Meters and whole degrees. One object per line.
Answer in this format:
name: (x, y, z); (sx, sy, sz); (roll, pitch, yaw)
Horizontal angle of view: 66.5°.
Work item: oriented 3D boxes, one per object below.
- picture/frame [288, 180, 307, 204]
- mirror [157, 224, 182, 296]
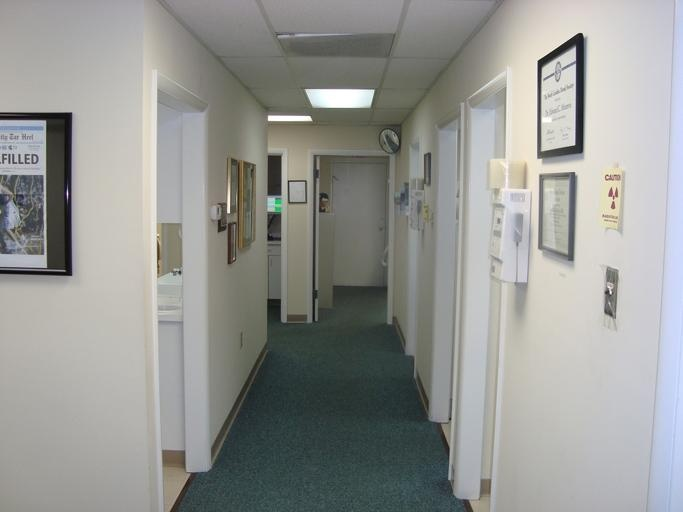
picture/frame: (-0.586, -0.870, 6.962); (0.260, 0.359, 0.022); (0, 4, -6)
mirror: (-1.620, 0.027, 4.886); (0.185, 0.609, 0.573); (0, 2, -2)
